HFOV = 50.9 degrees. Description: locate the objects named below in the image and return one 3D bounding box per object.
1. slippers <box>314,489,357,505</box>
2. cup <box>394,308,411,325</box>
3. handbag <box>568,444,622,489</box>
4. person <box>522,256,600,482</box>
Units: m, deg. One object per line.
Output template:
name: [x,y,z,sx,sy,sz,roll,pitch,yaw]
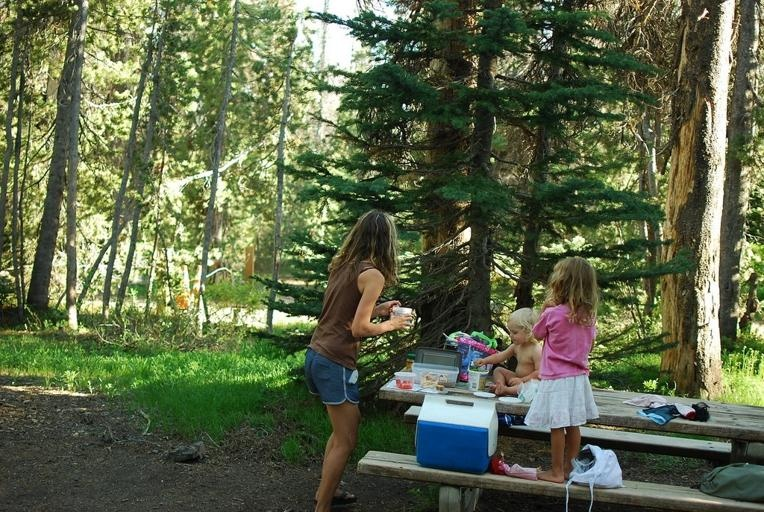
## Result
slippers: [-0.643,3.320,11.159,0.620,0.223,0.219,-3,2,-10]
cup: [0.276,0.781,10.410,0.216,0.156,0.209,2,-4,0]
handbag: [2.795,2.733,10.485,0.785,0.485,0.706,-2,-3,35]
person: [2.381,1.492,10.589,1.036,2.872,0.861,1,2,-11]
